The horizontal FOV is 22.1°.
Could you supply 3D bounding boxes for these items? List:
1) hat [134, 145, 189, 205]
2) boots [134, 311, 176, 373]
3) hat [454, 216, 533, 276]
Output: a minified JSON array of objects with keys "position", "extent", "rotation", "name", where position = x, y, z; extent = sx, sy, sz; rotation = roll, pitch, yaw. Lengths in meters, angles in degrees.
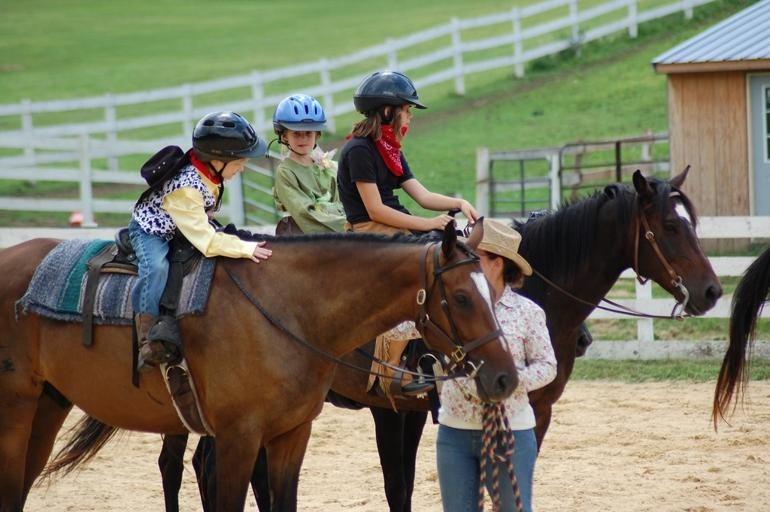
[{"position":[-3.632,-1.480,32.424],"extent":[0.337,0.969,0.847],"rotation":[38,14,-23],"name":"hat"},{"position":[-3.727,1.448,32.089],"extent":[0.631,0.925,0.284],"rotation":[-2,6,-7],"name":"boots"},{"position":[1.923,-0.033,32.015],"extent":[0.933,0.382,0.822],"rotation":[29,-10,12],"name":"hat"}]
